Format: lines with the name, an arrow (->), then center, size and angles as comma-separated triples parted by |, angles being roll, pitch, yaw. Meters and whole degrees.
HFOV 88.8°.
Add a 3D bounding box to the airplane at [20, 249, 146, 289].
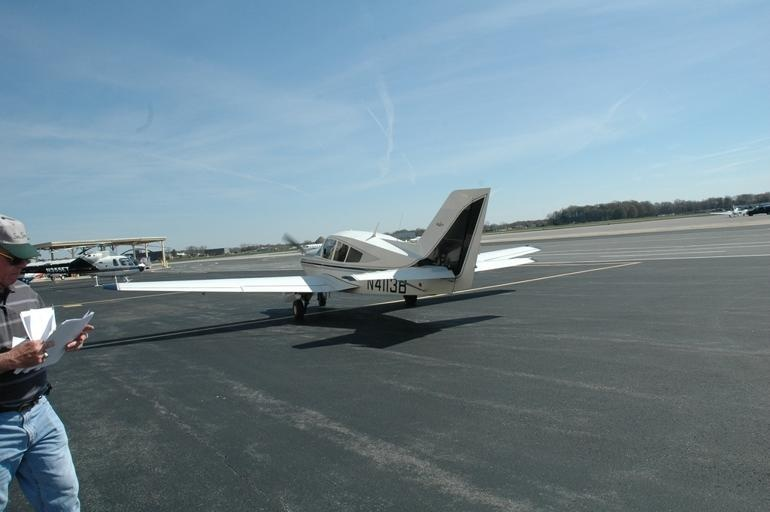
airplane -> -24.888, 1.231, 32.609 | 6.618, 1.165, 5.285 | -5, 5, -18
